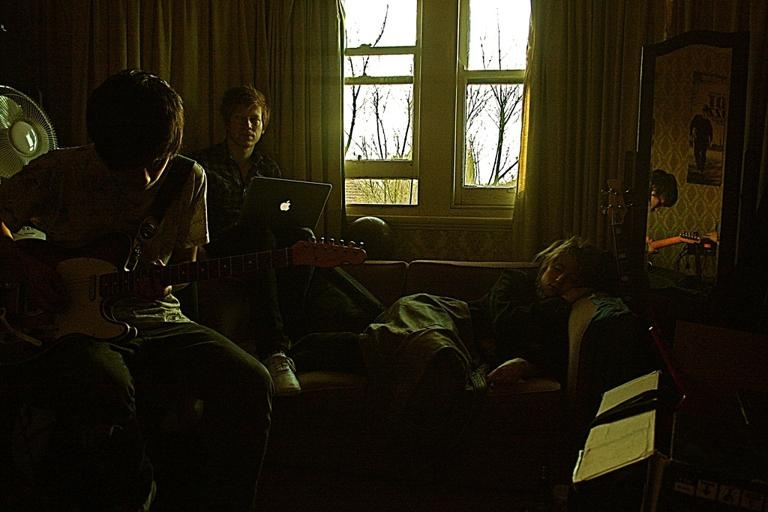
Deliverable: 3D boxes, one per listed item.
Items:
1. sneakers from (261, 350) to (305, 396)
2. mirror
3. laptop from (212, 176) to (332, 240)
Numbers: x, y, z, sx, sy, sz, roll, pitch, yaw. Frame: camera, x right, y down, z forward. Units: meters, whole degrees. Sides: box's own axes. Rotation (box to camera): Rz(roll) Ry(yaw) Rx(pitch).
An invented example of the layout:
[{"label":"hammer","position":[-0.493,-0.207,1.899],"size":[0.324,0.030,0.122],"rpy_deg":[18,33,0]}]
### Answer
[{"label":"sneakers","position":[-0.442,0.515,2.744],"size":[0.091,0.112,0.254],"rpy_deg":[-1,6,-34]},{"label":"mirror","position":[1.586,-0.455,3.372],"size":[0.471,1.647,0.080],"rpy_deg":[7,40,27]},{"label":"laptop","position":[-0.538,-0.324,3.091],"size":[0.447,0.291,0.327],"rpy_deg":[-2,37,-42]}]
